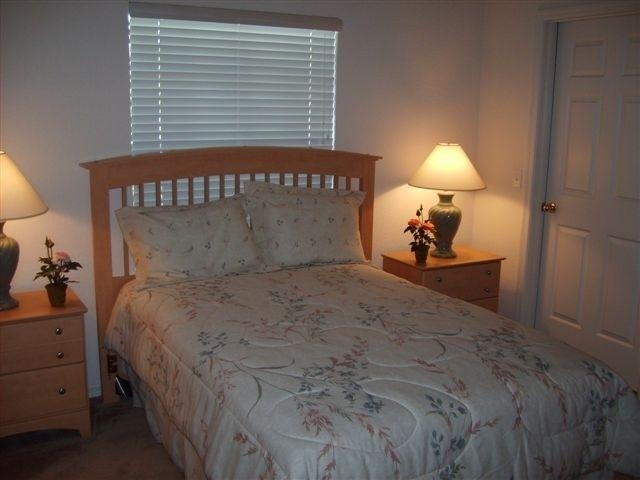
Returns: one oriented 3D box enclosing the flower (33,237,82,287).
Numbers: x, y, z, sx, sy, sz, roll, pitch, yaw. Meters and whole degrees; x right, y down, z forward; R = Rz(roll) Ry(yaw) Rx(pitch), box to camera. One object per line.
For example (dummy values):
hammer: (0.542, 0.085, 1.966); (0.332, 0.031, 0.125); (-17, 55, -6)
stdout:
flower: (-1.505, 0.116, 2.870); (0.242, 0.248, 0.246); (7, 10, 21)

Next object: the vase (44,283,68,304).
vase: (-1.402, 0.288, 2.697); (0.116, 0.120, 0.110); (-4, 19, -30)

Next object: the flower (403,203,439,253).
flower: (0.746, -0.085, 3.580); (0.220, 0.239, 0.223); (1, -1, -35)

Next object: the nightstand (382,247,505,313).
nightstand: (0.924, 0.089, 3.696); (0.694, 0.639, 0.480); (-7, 12, -32)

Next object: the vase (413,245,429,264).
vase: (0.713, 0.101, 3.544); (0.124, 0.134, 0.131); (2, 2, -37)
